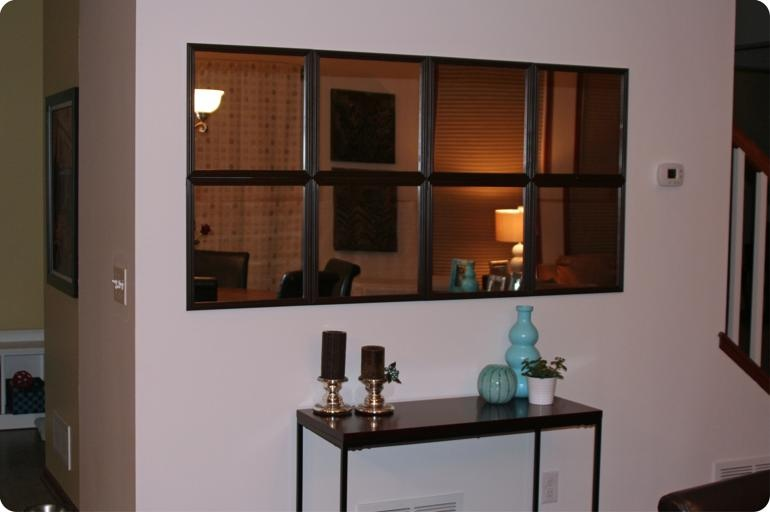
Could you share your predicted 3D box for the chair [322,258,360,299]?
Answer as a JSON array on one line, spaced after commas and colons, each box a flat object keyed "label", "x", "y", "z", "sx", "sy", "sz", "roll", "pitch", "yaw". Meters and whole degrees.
[{"label": "chair", "x": -0.237, "y": 0.077, "z": 3.372, "sx": 0.161, "sy": 0.254, "sz": 0.226, "roll": 9, "pitch": 3, "yaw": -7}]

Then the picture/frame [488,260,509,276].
[{"label": "picture/frame", "x": 0.572, "y": 0.052, "z": 3.449, "sx": 0.074, "sy": 0.069, "sz": 0.026, "roll": -2, "pitch": 13, "yaw": -14}]

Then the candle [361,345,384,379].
[{"label": "candle", "x": -0.061, "y": 0.501, "z": 3.215, "sx": 0.131, "sy": 0.152, "sz": 0.132, "roll": 0, "pitch": 5, "yaw": -1}]

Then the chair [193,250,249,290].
[{"label": "chair", "x": -0.760, "y": 0.054, "z": 3.095, "sx": 0.262, "sy": 0.188, "sz": 0.200, "roll": 4, "pitch": 0, "yaw": -9}]

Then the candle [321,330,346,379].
[{"label": "candle", "x": -0.249, "y": 0.461, "z": 3.181, "sx": 0.120, "sy": 0.230, "sz": 0.143, "roll": 0, "pitch": 1, "yaw": -5}]

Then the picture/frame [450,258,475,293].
[{"label": "picture/frame", "x": 0.378, "y": 0.089, "z": 3.398, "sx": 0.165, "sy": 0.166, "sz": 0.091, "roll": 2, "pitch": 1, "yaw": -12}]

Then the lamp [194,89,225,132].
[{"label": "lamp", "x": -0.819, "y": -0.671, "z": 3.138, "sx": 0.164, "sy": 0.165, "sz": 0.166, "roll": 3, "pitch": 3, "yaw": 44}]

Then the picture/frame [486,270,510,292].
[{"label": "picture/frame", "x": 0.574, "y": 0.131, "z": 3.459, "sx": 0.120, "sy": 0.123, "sz": 0.088, "roll": 0, "pitch": 6, "yaw": -8}]

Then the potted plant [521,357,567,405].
[{"label": "potted plant", "x": 0.779, "y": 0.600, "z": 3.394, "sx": 0.254, "sy": 0.243, "sz": 0.213, "roll": 1, "pitch": -5, "yaw": -5}]
